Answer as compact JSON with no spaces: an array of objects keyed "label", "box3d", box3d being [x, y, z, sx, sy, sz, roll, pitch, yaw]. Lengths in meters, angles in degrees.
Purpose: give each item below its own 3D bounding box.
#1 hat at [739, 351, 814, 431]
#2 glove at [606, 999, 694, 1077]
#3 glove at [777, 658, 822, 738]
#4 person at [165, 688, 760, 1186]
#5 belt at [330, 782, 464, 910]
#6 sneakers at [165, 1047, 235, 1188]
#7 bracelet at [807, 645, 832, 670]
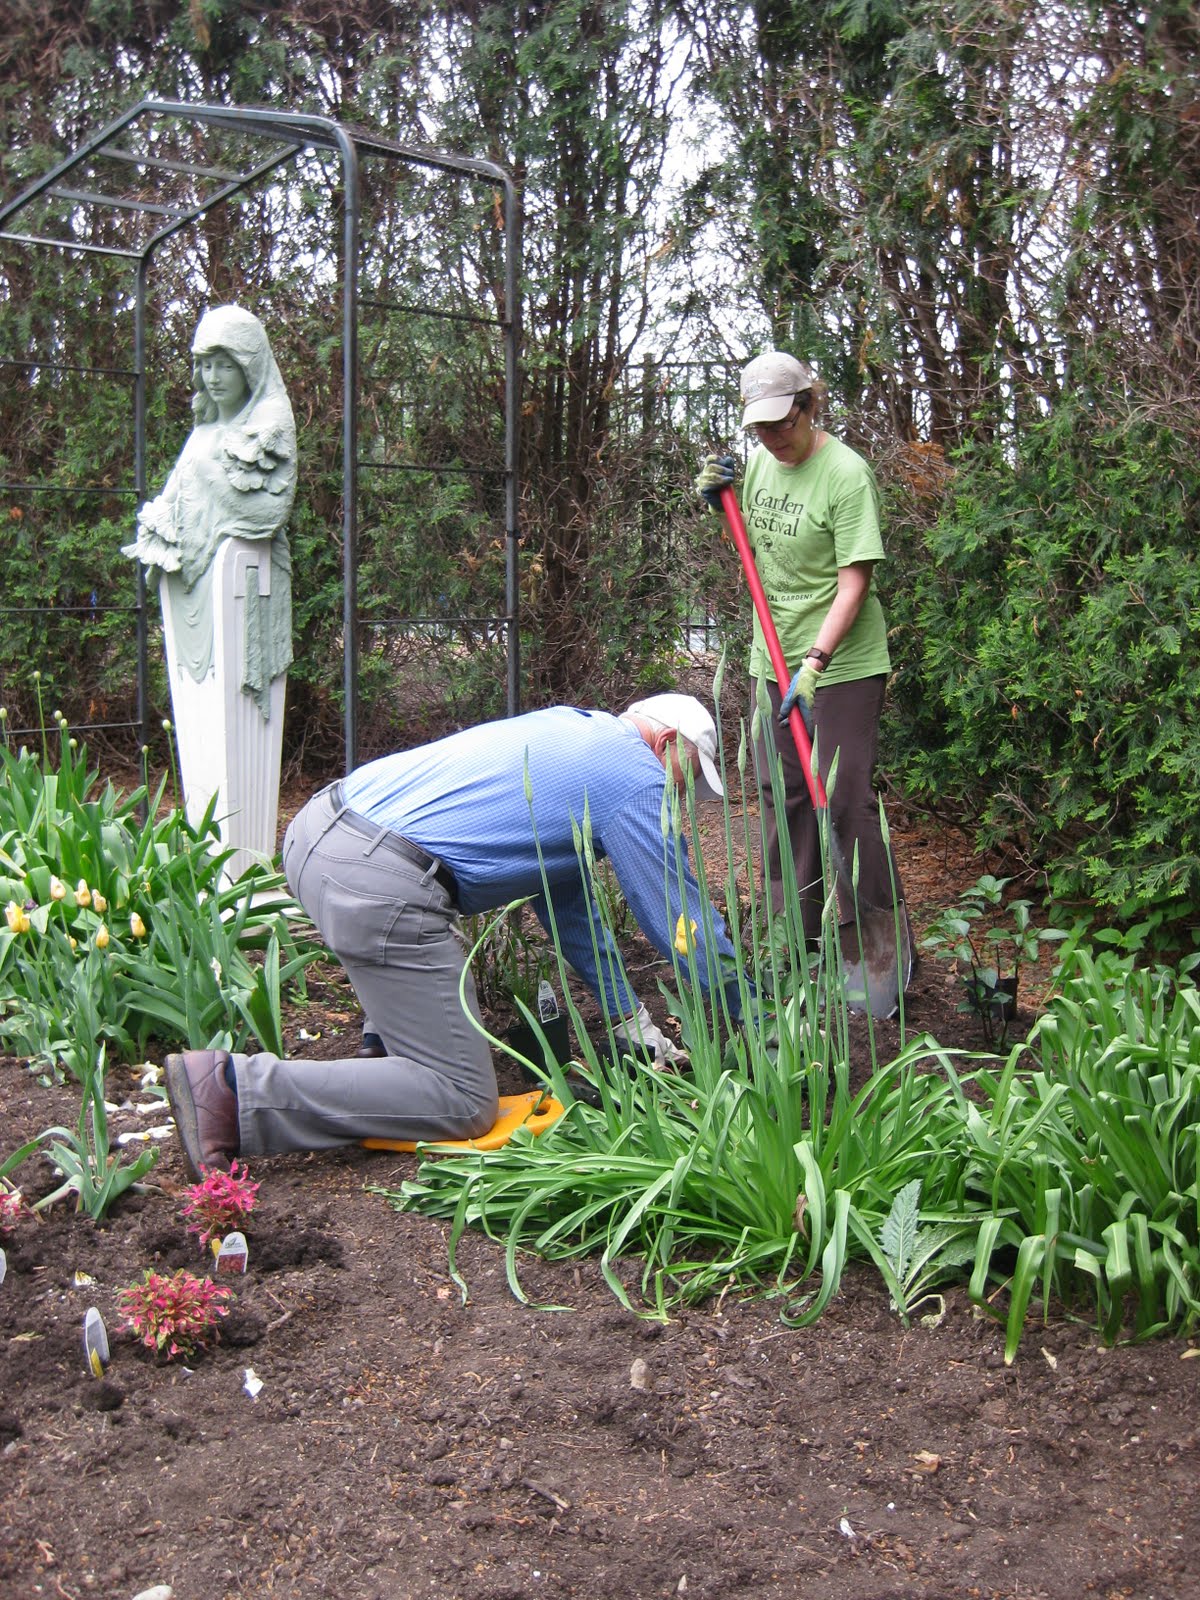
[{"label":"hat","box3d":[0.465,-1.054,3.819,0.185,0.183,0.218,-1,12,7]},{"label":"glove","box3d":[0.099,0.520,3.070,0.124,0.060,0.196,-15,18,6]},{"label":"glove","box3d":[0.467,-0.251,3.462,0.099,0.115,0.397,-9,13,15]},{"label":"person","box3d":[-0.256,0.246,3.053,1.400,0.815,0.683,-15,27,-40]},{"label":"belt","box3d":[-0.352,0.117,2.832,0.218,0.059,0.218,33,-10,49]},{"label":"sneakers","box3d":[-0.698,0.554,2.660,0.114,0.252,0.097,-11,1,-5]},{"label":"bracelet","box3d":[0.560,-0.351,3.747,0.069,0.043,0.064,24,2,-26]}]
